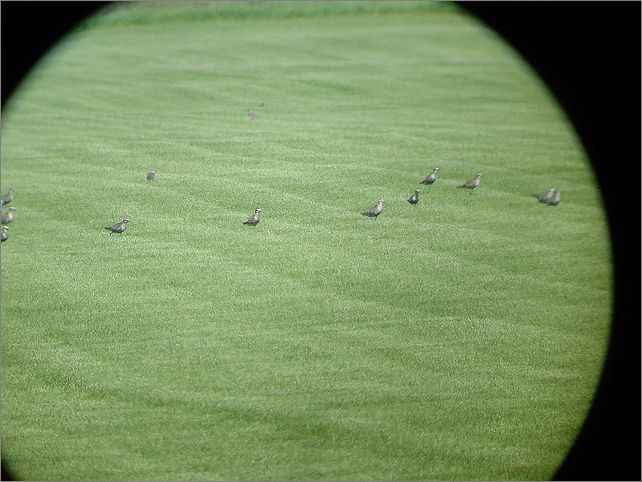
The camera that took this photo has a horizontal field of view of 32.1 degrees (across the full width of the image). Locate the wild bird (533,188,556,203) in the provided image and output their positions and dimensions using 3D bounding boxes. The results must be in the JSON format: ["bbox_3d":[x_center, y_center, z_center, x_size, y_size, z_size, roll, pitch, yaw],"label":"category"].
[{"bbox_3d":[2.214,-0.459,10.957,0.153,0.138,0.066,21,87,20],"label":"wild bird"}]

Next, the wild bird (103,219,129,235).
[{"bbox_3d":[-1.975,-0.139,10.898,0.226,0.061,0.119,-21,61,-17],"label":"wild bird"}]

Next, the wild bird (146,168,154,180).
[{"bbox_3d":[-1.684,-0.662,11.008,0.087,0.059,0.102,2,57,-3],"label":"wild bird"}]
